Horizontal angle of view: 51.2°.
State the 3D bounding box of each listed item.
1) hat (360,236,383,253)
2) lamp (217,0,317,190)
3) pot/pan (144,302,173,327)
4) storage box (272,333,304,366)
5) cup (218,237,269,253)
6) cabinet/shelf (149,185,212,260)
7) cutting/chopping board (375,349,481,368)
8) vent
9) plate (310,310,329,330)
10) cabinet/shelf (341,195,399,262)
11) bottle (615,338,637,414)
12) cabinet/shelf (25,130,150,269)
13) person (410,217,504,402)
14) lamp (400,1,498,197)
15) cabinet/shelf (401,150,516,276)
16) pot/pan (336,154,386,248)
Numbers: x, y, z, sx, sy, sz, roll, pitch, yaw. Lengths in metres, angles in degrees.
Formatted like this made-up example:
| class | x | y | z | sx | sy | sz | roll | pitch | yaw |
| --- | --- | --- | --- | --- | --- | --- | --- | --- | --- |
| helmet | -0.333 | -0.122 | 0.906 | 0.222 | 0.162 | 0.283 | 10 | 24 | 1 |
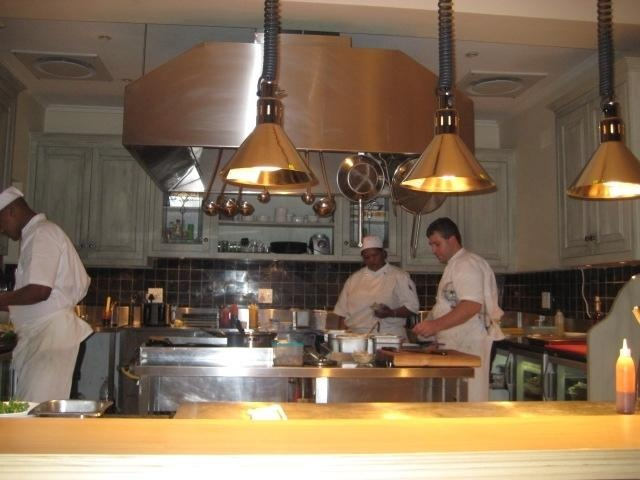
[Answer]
| class | x | y | z | sx | sy | sz | roll | pitch | yaw |
| --- | --- | --- | --- | --- | --- | --- | --- | --- | --- |
| hat | 0.387 | 0.016 | 5.085 | 0.150 | 0.088 | 0.148 | 0 | 5 | 13 |
| lamp | -0.209 | -0.673 | 2.858 | 0.393 | 0.859 | 0.540 | 1 | -8 | -7 |
| pot/pan | -1.396 | 0.634 | 5.677 | 0.202 | 0.144 | 0.197 | 0 | 3 | -4 |
| storage box | -0.182 | 0.620 | 3.730 | 0.218 | 0.208 | 0.219 | 2 | -7 | -4 |
| cup | -0.673 | 0.043 | 5.938 | 0.442 | 0.162 | 0.290 | 0 | -8 | -5 |
| cabinet/shelf | -1.093 | -0.141 | 5.850 | 0.576 | 0.540 | 0.327 | 1 | -4 | 35 |
| cutting/chopping board | 0.608 | 0.664 | 3.763 | 0.517 | 0.095 | 0.312 | 0 | -8 | -7 |
| vent | -0.168 | -0.662 | 3.752 | 1.508 | 0.517 | 0.783 | 1 | -4 | -5 |
| plate | -0.001 | 0.635 | 5.374 | 0.182 | 0.194 | 0.177 | 2 | -2 | 1 |
| cabinet/shelf | 0.432 | -0.138 | 5.923 | 0.557 | 0.597 | 0.226 | 0 | -8 | 2 |
| bottle | 1.271 | 0.568 | 2.781 | 0.077 | 0.299 | 0.072 | 0 | -9 | 0 |
| cabinet/shelf | -2.034 | -0.323 | 5.724 | 0.939 | 1.020 | 0.388 | -1 | 11 | -36 |
| person | 0.864 | 0.401 | 4.171 | 0.520 | 1.170 | 0.658 | -3 | -9 | 14 |
| lamp | 0.535 | -0.624 | 2.869 | 0.363 | 0.835 | 0.520 | -6 | -10 | 35 |
| cabinet/shelf | 0.984 | -0.166 | 4.605 | 1.097 | 1.047 | 0.374 | 1 | -10 | 2 |
| pot/pan | 0.261 | -0.253 | 4.102 | 0.310 | 0.528 | 0.065 | 6 | 15 | 15 |
